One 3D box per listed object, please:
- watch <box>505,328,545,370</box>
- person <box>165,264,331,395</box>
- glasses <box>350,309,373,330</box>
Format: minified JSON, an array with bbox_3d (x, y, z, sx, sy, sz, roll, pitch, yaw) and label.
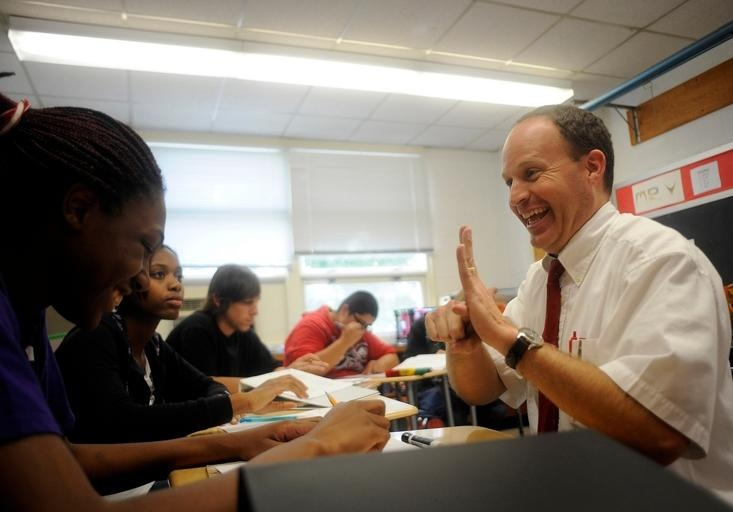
[{"bbox_3d":[0.378,0.225,1.215,0.075,0.046,0.074,-54,-13,22],"label":"watch"},{"bbox_3d":[-0.714,0.383,2.723,0.814,0.674,0.632,-6,-7,17],"label":"person"},{"bbox_3d":[-0.015,0.466,3.590,0.128,0.048,0.130,18,8,-44],"label":"glasses"}]
